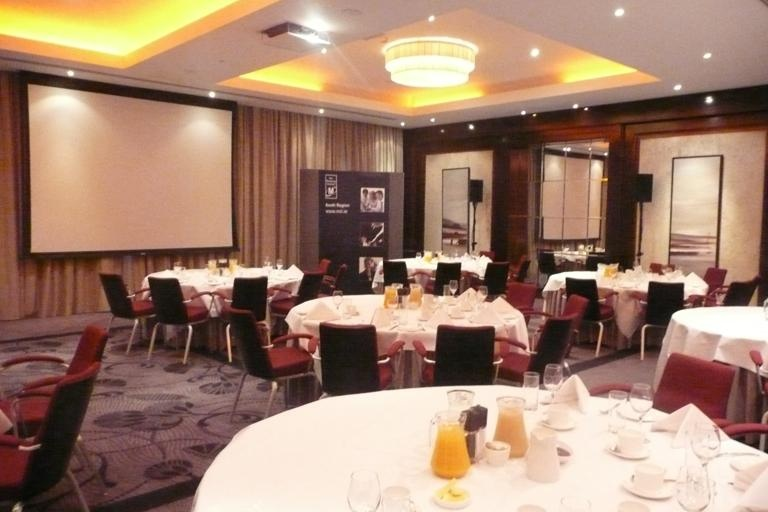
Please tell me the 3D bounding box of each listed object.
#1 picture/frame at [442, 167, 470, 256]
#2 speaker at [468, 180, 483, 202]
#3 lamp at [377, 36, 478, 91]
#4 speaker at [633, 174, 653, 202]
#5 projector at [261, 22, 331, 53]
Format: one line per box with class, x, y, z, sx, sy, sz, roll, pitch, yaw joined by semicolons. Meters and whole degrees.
picture/frame;1.763;-1.094;13.717;0.844;2.096;0.214;3;9;39
speaker;2.181;-1.510;13.150;0.344;0.573;0.402;-1;7;11
lamp;0.803;-3.160;8.991;1.170;0.365;1.165;-2;14;-20
speaker;5.040;-1.318;10.888;0.293;0.535;0.317;0;7;22
projector;-1.191;-2.948;7.578;0.954;0.176;0.725;-6;7;-32
